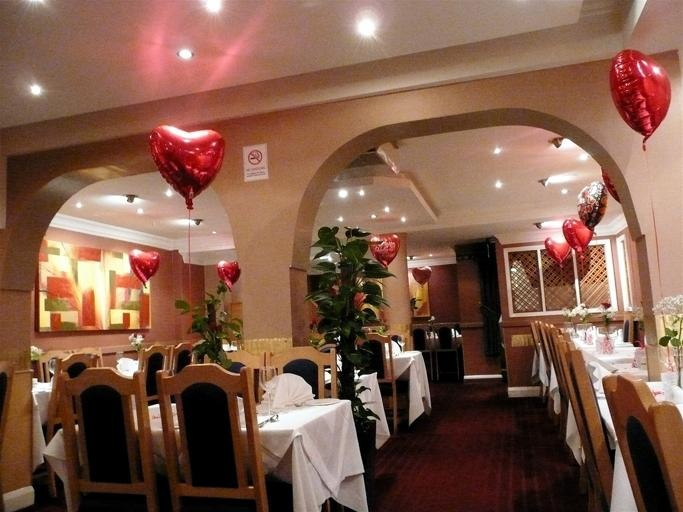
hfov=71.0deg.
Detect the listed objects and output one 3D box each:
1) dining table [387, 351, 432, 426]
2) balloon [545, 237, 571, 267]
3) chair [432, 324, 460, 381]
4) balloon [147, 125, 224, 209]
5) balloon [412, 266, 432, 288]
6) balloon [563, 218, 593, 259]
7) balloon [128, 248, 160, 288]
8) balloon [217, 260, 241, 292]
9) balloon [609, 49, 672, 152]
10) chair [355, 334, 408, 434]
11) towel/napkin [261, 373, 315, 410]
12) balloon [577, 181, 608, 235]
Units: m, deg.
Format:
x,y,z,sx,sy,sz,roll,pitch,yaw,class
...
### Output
x,y,z,sx,sy,sz,roll,pitch,yaw,class
0.893,1.691,6.584,0.595,0.578,0.685,-5,-4,-15,dining table
3.824,-0.075,8.438,0.468,0.486,0.276,7,-11,0,balloon
2.506,2.328,11.404,0.676,1.219,0.541,-4,-7,13,chair
-1.215,-0.695,3.846,0.610,0.667,0.378,-5,11,-32,balloon
1.872,0.449,11.114,0.340,0.410,0.719,-4,-8,14,balloon
3.265,-0.249,6.635,0.522,0.539,0.318,1,-19,9,balloon
-3.268,0.221,7.981,0.496,0.627,0.354,-2,8,-37,balloon
-2.006,0.287,8.521,0.289,0.530,1.493,0,-8,-16,balloon
1.838,-1.004,2.960,0.345,0.550,0.238,4,-9,-38,balloon
0.640,1.612,6.256,0.711,1.175,0.630,6,-12,-39,chair
-0.361,0.891,3.127,0.338,0.149,0.403,0,-6,-1,towel/napkin
2.828,-0.599,5.406,0.282,0.526,0.439,-6,-8,27,balloon
